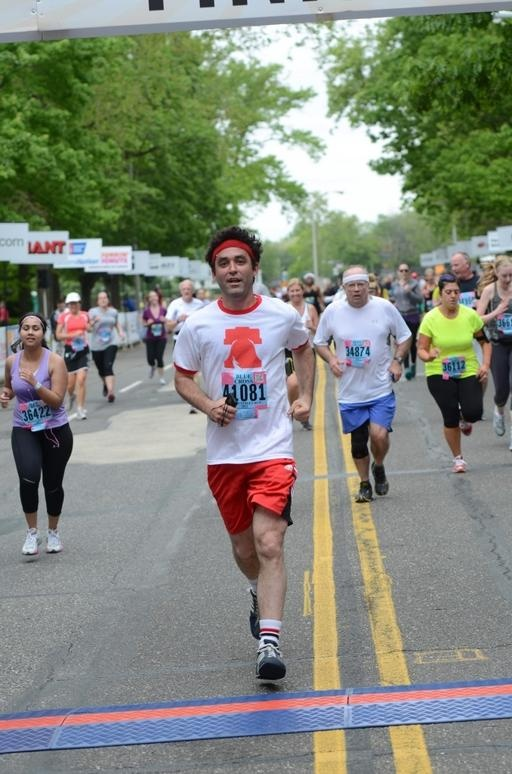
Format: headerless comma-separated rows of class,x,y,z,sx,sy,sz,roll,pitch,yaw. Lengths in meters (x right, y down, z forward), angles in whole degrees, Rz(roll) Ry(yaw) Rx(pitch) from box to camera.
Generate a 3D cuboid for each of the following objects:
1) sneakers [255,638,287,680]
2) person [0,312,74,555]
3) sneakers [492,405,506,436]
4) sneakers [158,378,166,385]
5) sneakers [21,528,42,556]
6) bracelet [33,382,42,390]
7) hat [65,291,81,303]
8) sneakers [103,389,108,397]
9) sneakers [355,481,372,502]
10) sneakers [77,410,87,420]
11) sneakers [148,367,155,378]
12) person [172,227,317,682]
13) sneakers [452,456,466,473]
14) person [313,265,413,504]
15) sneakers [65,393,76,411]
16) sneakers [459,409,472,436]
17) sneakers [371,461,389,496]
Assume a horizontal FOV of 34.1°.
sneakers,0.052,1.007,2.994,0.092,0.171,0.145,-6,11,-2
person,-1.513,0.324,5.845,0.472,1.657,0.515,-8,12,-13
sneakers,2.733,0.414,9.319,0.142,0.387,0.171,-2,13,11
sneakers,-2.180,-0.113,19.343,0.165,0.189,0.463,-2,0,-7
sneakers,-1.580,1.100,5.841,0.126,0.198,0.261,-8,12,-16
bracelet,-1.479,-0.003,5.644,0.047,0.034,0.048,-5,13,-18
hat,-3.014,-1.450,13.670,0.199,0.186,0.489,-7,11,-9
sneakers,-2.920,0.099,16.143,0.078,0.085,0.214,0,47,-7
sneakers,0.903,0.879,6.908,0.114,0.171,0.191,-3,-5,24
sneakers,-2.836,0.452,13.560,0.166,0.162,0.275,-8,11,-14
sneakers,-2.544,-0.331,20.345,0.124,0.145,0.340,1,45,-6
person,-0.036,0.286,3.480,0.617,1.874,1.200,-5,11,4
sneakers,1.905,0.737,7.817,0.091,0.078,0.182,-1,1,4
person,0.888,-0.036,6.957,0.753,1.921,0.773,-4,12,5
sneakers,-3.358,0.262,15.129,0.164,0.193,0.459,4,28,-6
sneakers,1.942,0.322,7.738,0.100,0.277,0.112,-22,36,-10
sneakers,1.055,0.792,7.075,0.112,0.306,0.137,-10,0,10
